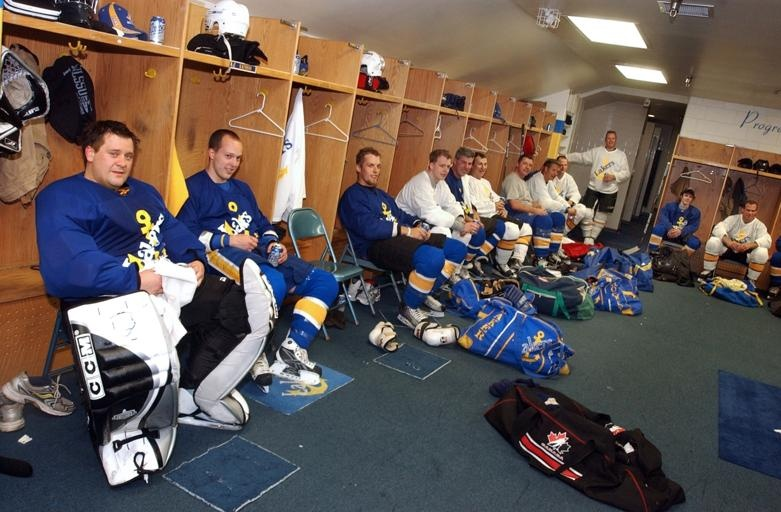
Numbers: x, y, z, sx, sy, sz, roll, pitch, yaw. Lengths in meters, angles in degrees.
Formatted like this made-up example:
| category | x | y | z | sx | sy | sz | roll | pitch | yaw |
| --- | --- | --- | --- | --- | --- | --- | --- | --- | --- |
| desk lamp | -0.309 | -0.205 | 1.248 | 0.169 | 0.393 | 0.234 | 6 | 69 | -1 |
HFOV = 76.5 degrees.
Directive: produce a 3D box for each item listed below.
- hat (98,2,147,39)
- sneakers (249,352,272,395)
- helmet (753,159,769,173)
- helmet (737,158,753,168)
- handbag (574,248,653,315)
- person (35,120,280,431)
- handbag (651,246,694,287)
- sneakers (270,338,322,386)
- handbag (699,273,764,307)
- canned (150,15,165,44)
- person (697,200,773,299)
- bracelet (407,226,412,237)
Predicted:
| category | x | y | z | sx | sy | sz | roll | pitch | yaw |
| --- | --- | --- | --- | --- | --- | --- | --- | --- | --- |
| hat | -1.844 | -1.624 | 3.422 | 0.300 | 0.229 | 0.451 | 1 | 17 | -30 |
| sneakers | -0.926 | 0.852 | 3.663 | 0.123 | 0.157 | 0.370 | -4 | 23 | -39 |
| helmet | 6.492 | -1.570 | 8.664 | 0.204 | 0.251 | 0.100 | -1 | -29 | 23 |
| helmet | 6.306 | -1.635 | 8.780 | 0.239 | 0.178 | 0.259 | 15 | 16 | 19 |
| handbag | 2.942 | 0.284 | 6.623 | 0.968 | 0.389 | 1.126 | -1 | 12 | -4 |
| person | -1.503 | 0.142 | 3.371 | 1.543 | 1.964 | 1.033 | 1 | 5 | 2 |
| handbag | 4.636 | 0.149 | 8.107 | 0.637 | 0.500 | 0.546 | 13 | 16 | 15 |
| sneakers | -0.716 | 0.786 | 3.816 | 0.460 | 0.227 | 0.251 | 18 | 25 | 10 |
| handbag | 5.183 | 0.518 | 7.496 | 0.813 | 0.295 | 0.552 | 20 | 18 | 36 |
| canned | -1.617 | -1.574 | 3.454 | 0.099 | 0.194 | 0.164 | 1 | 17 | -28 |
| person | 5.796 | -0.208 | 8.209 | 0.993 | 1.413 | 0.877 | 7 | 8 | -31 |
| bracelet | 0.198 | -0.242 | 4.976 | 0.063 | 0.082 | 0.036 | 4 | 15 | 1 |
